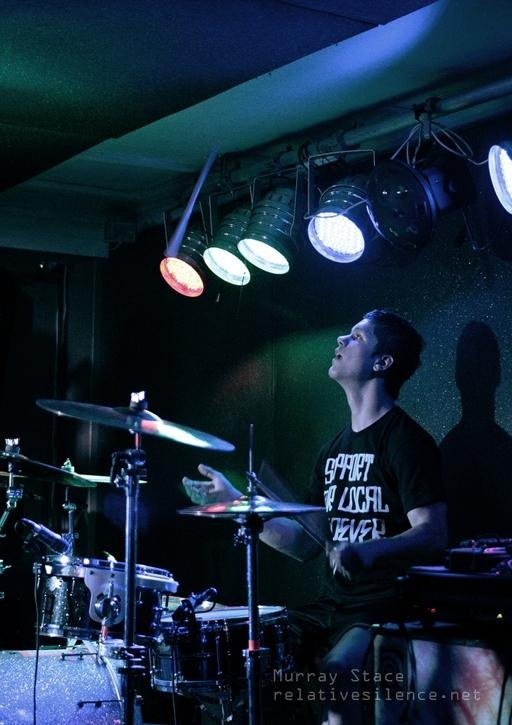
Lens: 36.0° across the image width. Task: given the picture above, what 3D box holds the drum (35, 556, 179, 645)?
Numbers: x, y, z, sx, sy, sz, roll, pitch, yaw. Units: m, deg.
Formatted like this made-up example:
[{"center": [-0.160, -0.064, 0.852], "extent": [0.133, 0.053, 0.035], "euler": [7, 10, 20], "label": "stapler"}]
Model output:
[{"center": [-0.580, 0.847, 2.874], "extent": [0.391, 0.178, 0.392], "euler": [7, -19, 2], "label": "drum"}]

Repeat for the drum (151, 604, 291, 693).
[{"center": [-0.147, 0.933, 2.547], "extent": [0.407, 0.185, 0.369], "euler": [-2, -12, -8], "label": "drum"}]

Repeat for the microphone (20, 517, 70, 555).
[{"center": [-0.789, 0.650, 2.935], "extent": [0.186, 0.128, 0.337], "euler": [5, -12, -10], "label": "microphone"}]
